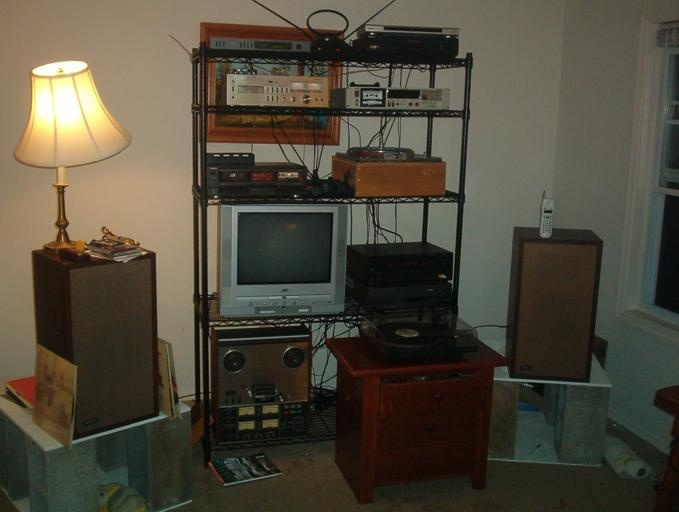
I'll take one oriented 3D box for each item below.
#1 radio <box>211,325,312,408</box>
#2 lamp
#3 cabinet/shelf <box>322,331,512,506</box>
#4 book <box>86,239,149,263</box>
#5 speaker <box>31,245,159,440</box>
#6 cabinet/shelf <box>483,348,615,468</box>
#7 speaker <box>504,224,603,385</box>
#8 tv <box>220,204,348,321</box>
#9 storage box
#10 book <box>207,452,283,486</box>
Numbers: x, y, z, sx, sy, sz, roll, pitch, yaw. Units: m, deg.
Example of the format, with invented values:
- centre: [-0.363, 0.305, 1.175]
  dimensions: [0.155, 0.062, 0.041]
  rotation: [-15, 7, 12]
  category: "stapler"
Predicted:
- centre: [-0.424, 0.618, 3.567]
  dimensions: [0.572, 0.465, 0.441]
  rotation: [-1, 15, -9]
  category: "radio"
- centre: [-1.275, -0.497, 3.054]
  dimensions: [0.502, 0.873, 0.422]
  rotation: [-1, 10, -4]
  category: "lamp"
- centre: [0.319, 0.748, 3.671]
  dimensions: [1.105, 1.015, 0.729]
  rotation: [-2, 10, -12]
  category: "cabinet/shelf"
- centre: [-1.037, -0.029, 3.002]
  dimensions: [0.262, 0.097, 0.142]
  rotation: [-5, 12, -21]
  category: "book"
- centre: [-1.074, 0.404, 3.025]
  dimensions: [0.435, 0.827, 0.116]
  rotation: [-7, 12, -33]
  category: "speaker"
- centre: [1.214, 0.932, 3.928]
  dimensions: [0.672, 0.521, 0.682]
  rotation: [3, 18, 7]
  category: "cabinet/shelf"
- centre: [1.189, 0.263, 3.722]
  dimensions: [0.597, 0.806, 0.591]
  rotation: [-4, 12, -28]
  category: "speaker"
- centre: [-0.343, 0.006, 3.671]
  dimensions: [0.738, 0.639, 0.426]
  rotation: [0, 9, -11]
  category: "tv"
- centre: [0.318, -0.439, 3.575]
  dimensions: [0.524, 0.209, 0.104]
  rotation: [-2, 11, -9]
  category: "storage box"
- centre: [-0.526, 1.174, 3.577]
  dimensions: [0.382, 0.058, 0.247]
  rotation: [-4, 12, -15]
  category: "book"
